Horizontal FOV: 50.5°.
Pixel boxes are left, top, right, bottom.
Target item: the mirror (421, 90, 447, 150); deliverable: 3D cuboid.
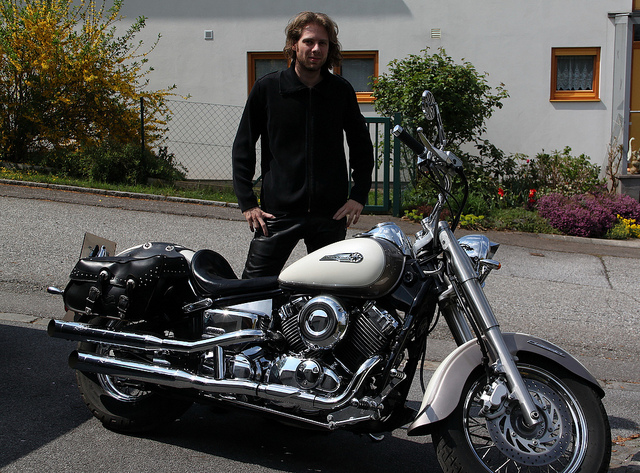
[{"bbox_3d":[0.744,-0.792,4.450,0.143,0.451,0.126,5,12,37],"label":"mirror"}]
